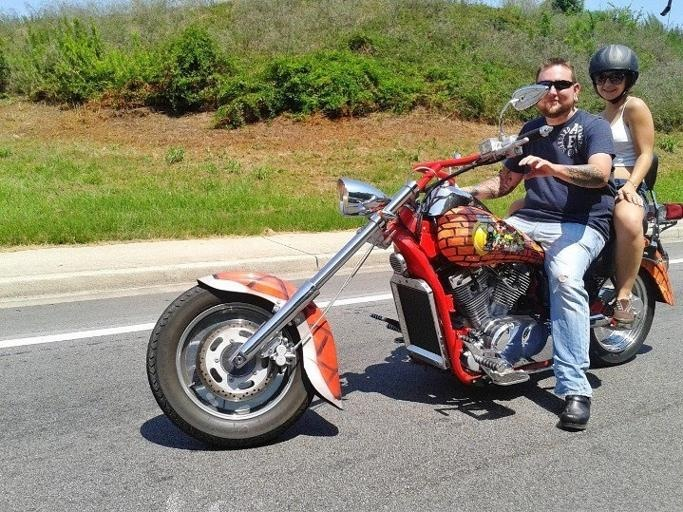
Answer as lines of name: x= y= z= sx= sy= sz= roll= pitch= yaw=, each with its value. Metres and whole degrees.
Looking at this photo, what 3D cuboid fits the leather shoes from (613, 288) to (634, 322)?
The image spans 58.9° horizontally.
leather shoes: x=2.367 y=0.420 z=5.019 sx=0.115 sy=0.202 sz=0.272 roll=-3 pitch=13 yaw=28
